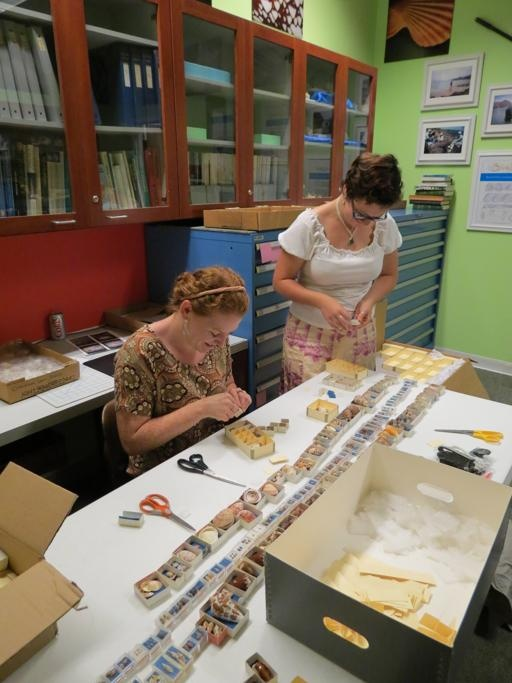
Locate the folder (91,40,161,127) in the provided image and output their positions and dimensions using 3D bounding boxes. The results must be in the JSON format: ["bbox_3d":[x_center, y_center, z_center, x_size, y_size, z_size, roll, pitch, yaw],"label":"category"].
[{"bbox_3d":[-0.502,-0.990,1.886,0.053,0.299,0.336,9,21,32],"label":"folder"}]

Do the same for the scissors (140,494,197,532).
[{"bbox_3d":[-0.183,0.352,1.008,0.051,0.009,0.119,-15,23,-41],"label":"scissors"}]

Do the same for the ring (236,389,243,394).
[{"bbox_3d":[-0.051,0.149,1.459,0.014,0.014,0.009,-11,34,-15],"label":"ring"}]

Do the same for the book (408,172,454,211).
[{"bbox_3d":[1.371,-1.180,3.894,0.310,0.268,0.307,15,28,37],"label":"book"}]

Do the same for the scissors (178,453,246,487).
[{"bbox_3d":[-0.124,0.307,1.162,0.164,0.012,0.064,15,19,41],"label":"scissors"}]

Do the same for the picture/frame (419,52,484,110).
[{"bbox_3d":[1.474,-1.944,3.632,0.035,0.401,0.489,-25,31,-39],"label":"picture/frame"}]

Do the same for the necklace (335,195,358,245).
[{"bbox_3d":[0.321,-0.428,1.760,0.067,0.164,0.039,0,18,9],"label":"necklace"}]

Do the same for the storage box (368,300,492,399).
[{"bbox_3d":[0.632,0.081,1.965,0.461,0.284,0.440,15,30,32],"label":"storage box"}]

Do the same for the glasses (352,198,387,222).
[{"bbox_3d":[0.370,-0.423,1.627,0.078,0.028,0.076,-1,55,-35],"label":"glasses"}]

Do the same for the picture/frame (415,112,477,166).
[{"bbox_3d":[1.486,-1.575,3.778,0.442,0.373,0.031,18,29,38],"label":"picture/frame"}]
